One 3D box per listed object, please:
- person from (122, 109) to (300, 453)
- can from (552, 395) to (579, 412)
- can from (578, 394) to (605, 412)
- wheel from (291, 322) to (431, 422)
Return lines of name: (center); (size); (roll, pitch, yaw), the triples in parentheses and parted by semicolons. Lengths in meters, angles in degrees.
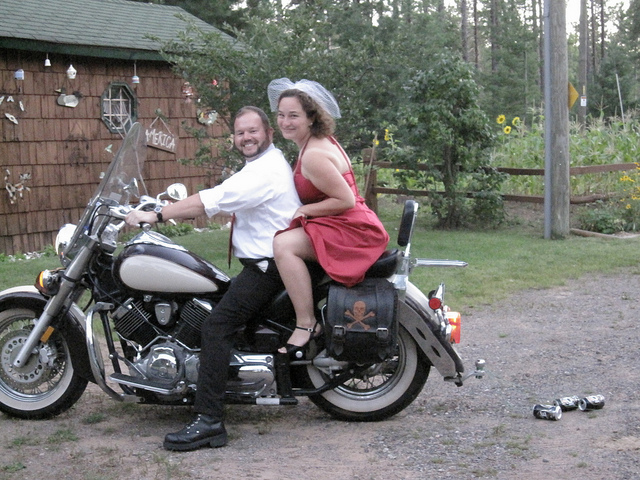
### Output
person: (-0.626, 0.246, 4.645); (1.125, 2.256, 0.619); (-11, 15, -38)
can: (1.793, 1.194, 4.899); (0.161, 0.055, 0.095); (-3, 17, -21)
can: (1.981, 1.184, 4.858); (0.163, 0.092, 0.067); (-7, -26, -18)
wheel: (0.283, 0.917, 4.741); (0.604, 0.564, 0.128); (25, 10, -2)
